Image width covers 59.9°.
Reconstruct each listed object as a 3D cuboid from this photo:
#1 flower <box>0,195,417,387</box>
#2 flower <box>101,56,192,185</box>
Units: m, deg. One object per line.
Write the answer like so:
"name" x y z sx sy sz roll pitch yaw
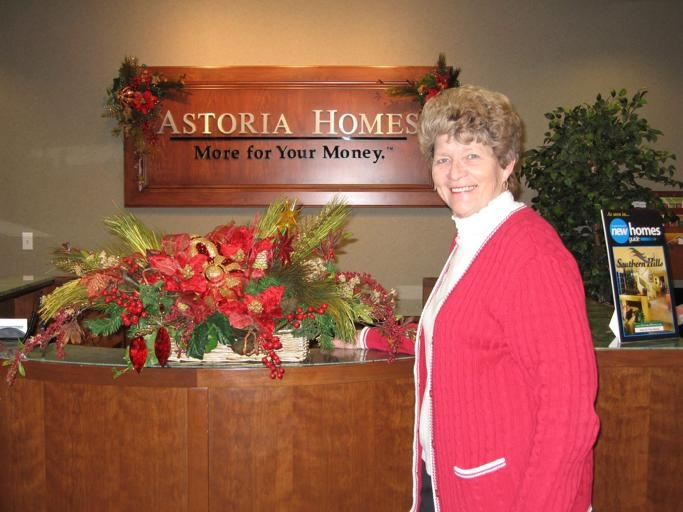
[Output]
"flower" -0.408 0.103 1.984 1.246 0.595 0.409 -1 -6 5
"flower" -1.409 -0.940 4.275 0.532 0.891 0.341 1 -7 -13
